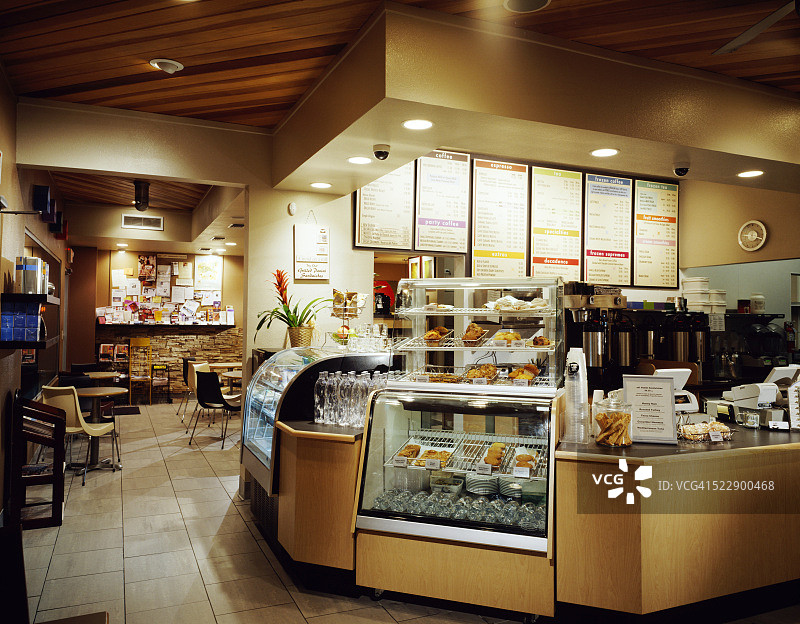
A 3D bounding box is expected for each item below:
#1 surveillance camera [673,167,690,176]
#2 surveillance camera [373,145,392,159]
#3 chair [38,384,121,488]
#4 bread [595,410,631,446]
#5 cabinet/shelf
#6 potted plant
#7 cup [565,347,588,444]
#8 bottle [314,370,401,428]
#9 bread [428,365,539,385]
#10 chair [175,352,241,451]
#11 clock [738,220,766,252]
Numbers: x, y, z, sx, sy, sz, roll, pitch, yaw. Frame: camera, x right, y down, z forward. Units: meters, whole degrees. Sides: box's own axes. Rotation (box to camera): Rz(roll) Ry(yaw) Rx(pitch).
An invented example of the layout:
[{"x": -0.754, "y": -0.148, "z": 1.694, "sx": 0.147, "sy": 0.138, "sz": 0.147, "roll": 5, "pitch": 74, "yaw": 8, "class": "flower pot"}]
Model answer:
[{"x": 2.275, "y": -1.143, "z": 5.051, "sx": 0.069, "sy": 0.093, "sz": 0.093, "roll": 11, "pitch": 14, "yaw": 6, "class": "surveillance camera"}, {"x": -0.131, "y": -1.177, "z": 4.574, "sx": 0.087, "sy": 0.062, "sz": 0.086, "roll": 4, "pitch": -9, "yaw": -35, "class": "surveillance camera"}, {"x": -3.034, "y": 1.206, "z": 6.171, "sx": 0.493, "sy": 0.669, "sz": 0.356, "roll": 12, "pitch": -17, "yaw": -12, "class": "chair"}, {"x": 1.272, "y": 0.697, "z": 3.759, "sx": 0.203, "sy": 0.224, "sz": 0.206, "roll": 3, "pitch": -9, "yaw": 2, "class": "bread"}, {"x": 0.523, "y": 0.120, "z": 4.122, "sx": 1.053, "sy": 0.728, "sz": 0.373, "roll": 1, "pitch": 3, "yaw": 16, "class": "cabinet/shelf"}, {"x": -0.900, "y": -0.009, "z": 5.737, "sx": 0.737, "sy": 0.678, "sz": 0.659, "roll": 0, "pitch": 0, "yaw": -5, "class": "potted plant"}, {"x": 1.079, "y": 0.514, "z": 3.821, "sx": 0.134, "sy": 0.561, "sz": 0.156, "roll": 1, "pitch": 2, "yaw": 15, "class": "cup"}, {"x": -0.342, "y": 0.611, "z": 4.373, "sx": 0.516, "sy": 0.362, "sz": 0.425, "roll": 0, "pitch": 2, "yaw": -8, "class": "bottle"}, {"x": 0.549, "y": 0.410, "z": 4.143, "sx": 0.727, "sy": 0.124, "sz": 0.207, "roll": 1, "pitch": 3, "yaw": 10, "class": "bread"}, {"x": -2.631, "y": 1.196, "z": 8.519, "sx": 1.040, "sy": 1.493, "sz": 1.169, "roll": 0, "pitch": -4, "yaw": 3, "class": "chair"}, {"x": 3.818, "y": -0.826, "z": 6.765, "sx": 0.047, "sy": 0.374, "sz": 0.356, "roll": 8, "pitch": -2, "yaw": -16, "class": "clock"}]
